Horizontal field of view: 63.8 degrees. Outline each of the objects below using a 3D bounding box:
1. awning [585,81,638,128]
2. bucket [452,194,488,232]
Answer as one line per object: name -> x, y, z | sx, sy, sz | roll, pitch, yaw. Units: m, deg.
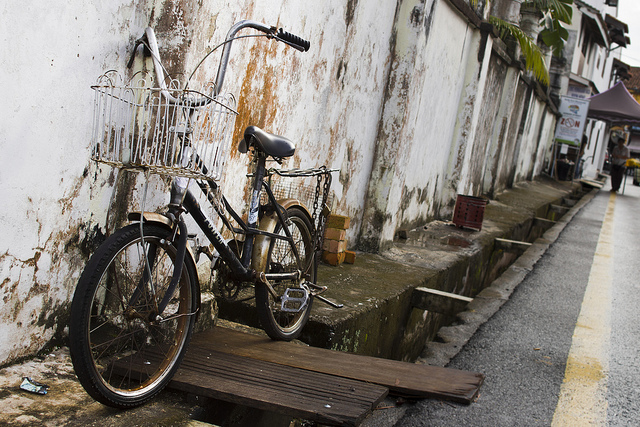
awning -> 14.720, -5.113, 25.257 | 2.478, 1.383, 2.470 | 0, 4, -45
bucket -> 2.625, 0.012, 8.990 | 0.485, 0.576, 0.490 | 12, 0, 0
